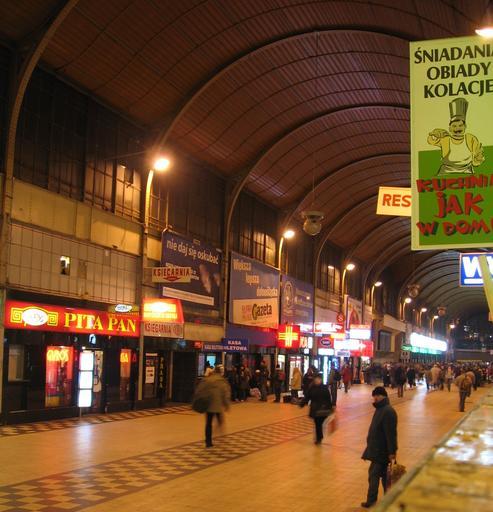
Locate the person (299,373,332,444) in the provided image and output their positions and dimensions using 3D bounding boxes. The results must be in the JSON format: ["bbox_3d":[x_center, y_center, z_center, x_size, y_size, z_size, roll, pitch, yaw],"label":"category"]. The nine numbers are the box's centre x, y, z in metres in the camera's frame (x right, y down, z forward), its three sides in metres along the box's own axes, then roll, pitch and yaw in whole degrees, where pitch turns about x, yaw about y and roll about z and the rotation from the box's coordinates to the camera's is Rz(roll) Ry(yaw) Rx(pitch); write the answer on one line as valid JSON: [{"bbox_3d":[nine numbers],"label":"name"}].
[{"bbox_3d":[2.013,4.189,13.928,0.815,1.854,1.013,0,-13,7],"label":"person"}]

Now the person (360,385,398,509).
[{"bbox_3d":[2.044,2.870,7.611,0.540,1.756,0.449,-3,-13,18],"label":"person"}]
